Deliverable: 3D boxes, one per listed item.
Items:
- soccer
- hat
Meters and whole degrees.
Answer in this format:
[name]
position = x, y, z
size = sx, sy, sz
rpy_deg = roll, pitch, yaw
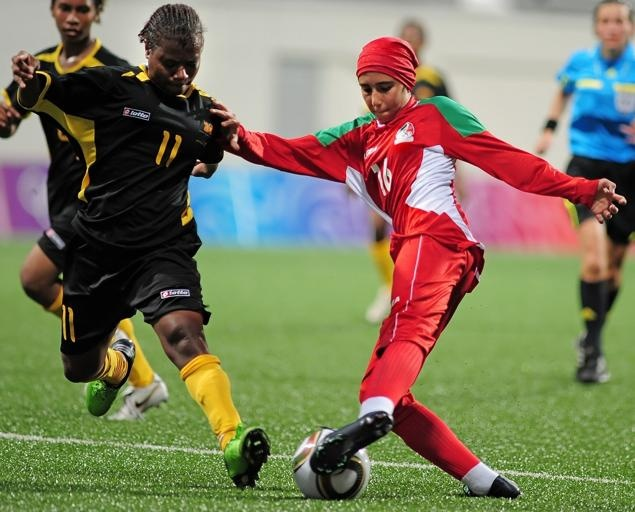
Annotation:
[soccer]
position = 0.057, 0.851, 3.466
size = 0.303, 0.313, 0.264
rpy_deg = -3, 3, -9
[hat]
position = 0.315, -0.857, 3.756
size = 0.206, 0.199, 0.250
rpy_deg = -2, -2, 34
